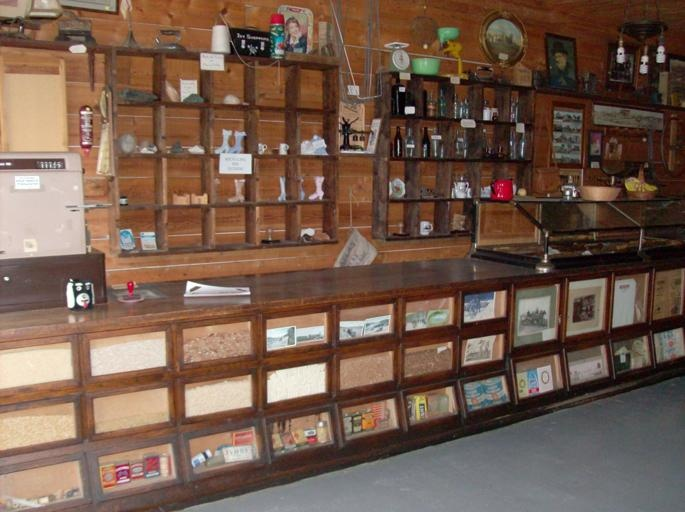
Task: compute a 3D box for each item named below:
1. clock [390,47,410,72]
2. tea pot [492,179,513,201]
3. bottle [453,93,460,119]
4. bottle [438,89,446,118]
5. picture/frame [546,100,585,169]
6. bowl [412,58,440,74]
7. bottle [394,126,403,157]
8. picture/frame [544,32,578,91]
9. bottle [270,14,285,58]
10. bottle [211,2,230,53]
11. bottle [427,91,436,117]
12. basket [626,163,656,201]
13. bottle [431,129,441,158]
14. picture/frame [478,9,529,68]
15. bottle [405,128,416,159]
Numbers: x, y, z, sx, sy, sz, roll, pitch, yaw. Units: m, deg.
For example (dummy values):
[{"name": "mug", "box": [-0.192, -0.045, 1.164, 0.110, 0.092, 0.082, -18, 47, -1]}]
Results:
[{"name": "clock", "box": [0.524, -1.819, 4.815, 0.088, 0.260, 0.274, 1, 16, 40]}, {"name": "tea pot", "box": [1.337, -0.545, 4.265, 0.185, 0.165, 0.174, 1, 6, 0]}, {"name": "bottle", "box": [1.154, -1.497, 5.226, 0.084, 0.231, 0.338, 4, 13, 12]}, {"name": "bottle", "box": [0.986, -1.512, 5.115, 0.085, 0.257, 0.086, 1, 13, 0]}, {"name": "picture/frame", "box": [2.596, -1.377, 5.975, 0.536, 0.667, 0.168, -8, 16, -34]}, {"name": "bowl", "box": [0.788, -1.785, 4.891, 0.206, 0.104, 0.194, -1, 8, 0]}, {"name": "bottle", "box": [0.541, -1.115, 5.037, 0.104, 0.277, 0.191, 2, 13, 5]}, {"name": "picture/frame", "box": [2.424, -2.163, 5.788, 0.523, 0.577, 0.190, -7, 15, -30]}, {"name": "bottle", "box": [-0.543, -1.808, 4.317, 0.117, 0.354, 0.217, -1, 13, -7]}, {"name": "bottle", "box": [-0.990, -1.839, 4.193, 0.143, 0.442, 0.391, -2, 13, -11]}, {"name": "bottle", "box": [0.860, -1.488, 5.090, 0.109, 0.247, 0.346, 3, 13, 8]}, {"name": "basket", "box": [2.692, -0.670, 4.655, 0.283, 0.261, 0.281, 7, 30, 41]}, {"name": "bottle", "box": [0.936, -1.118, 5.146, 0.114, 0.274, 0.341, 3, 13, 7]}, {"name": "picture/frame", "box": [1.695, -2.259, 5.426, 0.044, 0.584, 0.618, -32, 42, -25]}, {"name": "bottle", "box": [0.652, -1.086, 4.986, 0.106, 0.272, 0.245, 2, 13, 6]}]
